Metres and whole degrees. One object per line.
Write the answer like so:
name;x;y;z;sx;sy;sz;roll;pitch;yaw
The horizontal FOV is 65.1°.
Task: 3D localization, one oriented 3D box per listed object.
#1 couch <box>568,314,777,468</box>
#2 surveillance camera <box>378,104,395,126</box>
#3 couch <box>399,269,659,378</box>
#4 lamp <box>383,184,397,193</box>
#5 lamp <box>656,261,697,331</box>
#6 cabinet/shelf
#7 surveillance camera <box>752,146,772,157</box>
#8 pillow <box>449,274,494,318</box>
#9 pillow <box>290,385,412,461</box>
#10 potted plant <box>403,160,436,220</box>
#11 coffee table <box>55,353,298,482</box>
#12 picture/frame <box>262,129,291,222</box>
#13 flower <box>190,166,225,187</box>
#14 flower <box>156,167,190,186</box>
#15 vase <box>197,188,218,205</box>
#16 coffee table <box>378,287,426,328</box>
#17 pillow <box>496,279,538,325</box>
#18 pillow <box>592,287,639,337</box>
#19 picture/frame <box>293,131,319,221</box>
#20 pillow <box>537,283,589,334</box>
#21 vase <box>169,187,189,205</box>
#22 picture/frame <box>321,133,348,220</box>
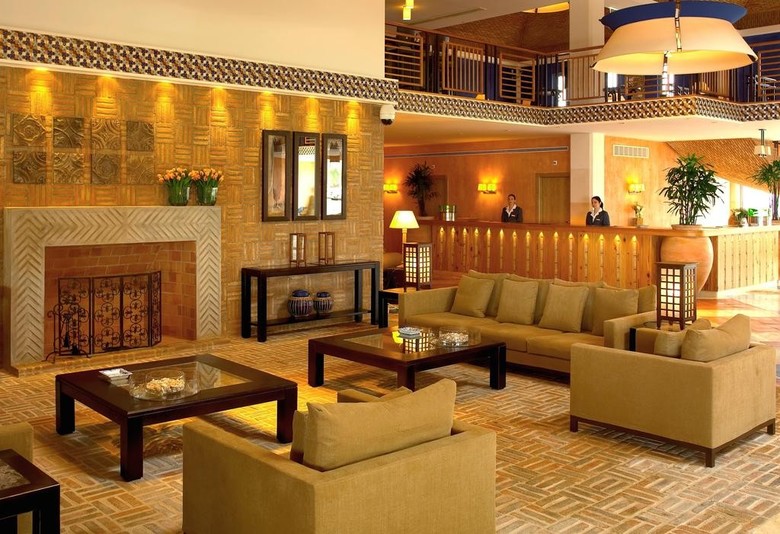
couch;2.636;0.893;5.843;1.380;1.257;1.491;-3;4;-44
surveillance camera;-0.055;-2.760;10.972;0.280;0.329;0.349;0;8;-2
couch;1.775;0.753;8.132;1.299;1.299;3.358;2;2;-42
lamp;-0.004;-2.441;19.012;0.139;0.311;0.541;-7;11;-42
lamp;3.041;0.304;6.494;0.661;0.640;0.671;1;3;30
cabinet/shelf;-1.273;0.545;10.257;2.421;1.123;0.543;-4;7;-42
surveillance camera;9.167;-2.900;15.081;0.476;0.233;0.226;-8;11;-44
pillow;1.173;0.400;8.728;0.342;0.538;0.621;-8;12;-38
pillow;-0.358;0.984;4.230;0.758;0.478;0.713;0;0;-24
potted plant;0.870;-2.312;18.149;0.927;1.559;0.614;3;8;20
coffee table;-2.109;1.111;5.593;1.323;0.486;1.341;-2;5;-41
picture/frame;-1.865;-1.490;9.966;0.130;1.449;0.577;7;10;42
flower;-2.806;-1.356;9.162;0.329;0.229;0.334;3;-6;-35
flower;-3.113;-1.333;8.835;0.298;0.192;0.290;1;-5;-34
vase;-2.700;-1.032;9.164;0.267;0.268;0.261;-2;-3;19
coffee table;0.105;0.668;10.392;0.702;0.679;0.691;0;0;-29
pillow;1.717;0.484;8.181;0.501;0.543;0.192;12;-6;39
pillow;2.628;0.539;7.110;0.199;0.531;0.541;14;-5;-32
picture/frame;-1.425;-1.534;10.292;0.525;1.422;0.099;-7;10;-41
pillow;2.198;0.524;7.752;0.597;0.572;0.225;12;-4;35
vase;-3.068;-1.008;8.867;0.271;0.259;0.267;-2;-3;36
picture/frame;-0.978;-1.564;10.585;0.502;1.451;0.119;-7;11;-43
